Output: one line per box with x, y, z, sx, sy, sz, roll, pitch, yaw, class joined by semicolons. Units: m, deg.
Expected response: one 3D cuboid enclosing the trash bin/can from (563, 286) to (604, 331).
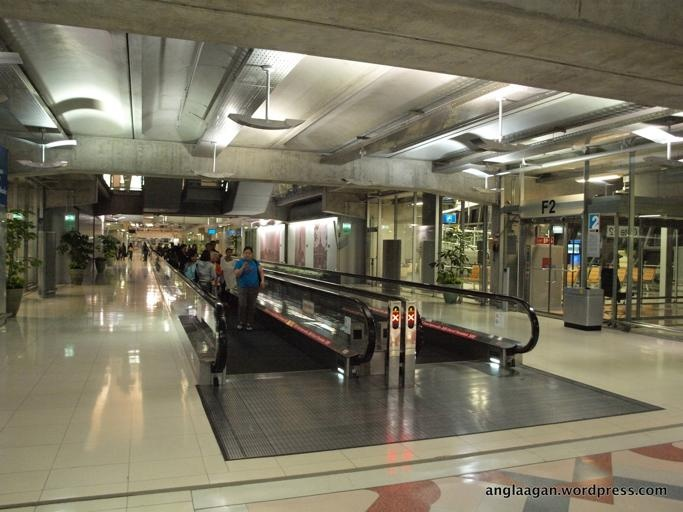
5.462;1.216;10.718;0.758;1.056;1.009;3;-4;-16;trash bin/can

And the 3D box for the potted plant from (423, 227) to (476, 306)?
3.602;0.044;15.632;1.152;1.979;1.283;1;3;-22;potted plant

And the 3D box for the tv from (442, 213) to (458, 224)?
3.670;-1.277;16.165;0.137;0.349;0.696;1;2;-21;tv

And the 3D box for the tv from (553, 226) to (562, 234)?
5.833;-0.702;12.833;0.194;0.196;0.349;-11;12;-42;tv
